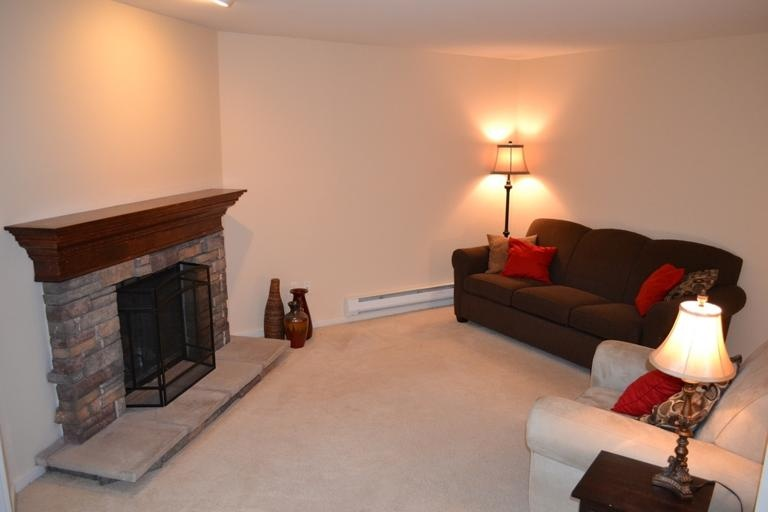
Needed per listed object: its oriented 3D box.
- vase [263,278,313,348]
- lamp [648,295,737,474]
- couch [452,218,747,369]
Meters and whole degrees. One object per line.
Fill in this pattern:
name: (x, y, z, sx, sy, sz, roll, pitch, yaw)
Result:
vase: (-1.003, 0.553, 5.593, 0.526, 0.671, 0.458, -2, 14, -13)
lamp: (1.636, 0.673, 2.864, 0.371, 0.944, 0.323, -5, 15, -25)
couch: (2.071, 0.363, 5.623, 1.199, 1.171, 2.854, -11, 15, -30)
